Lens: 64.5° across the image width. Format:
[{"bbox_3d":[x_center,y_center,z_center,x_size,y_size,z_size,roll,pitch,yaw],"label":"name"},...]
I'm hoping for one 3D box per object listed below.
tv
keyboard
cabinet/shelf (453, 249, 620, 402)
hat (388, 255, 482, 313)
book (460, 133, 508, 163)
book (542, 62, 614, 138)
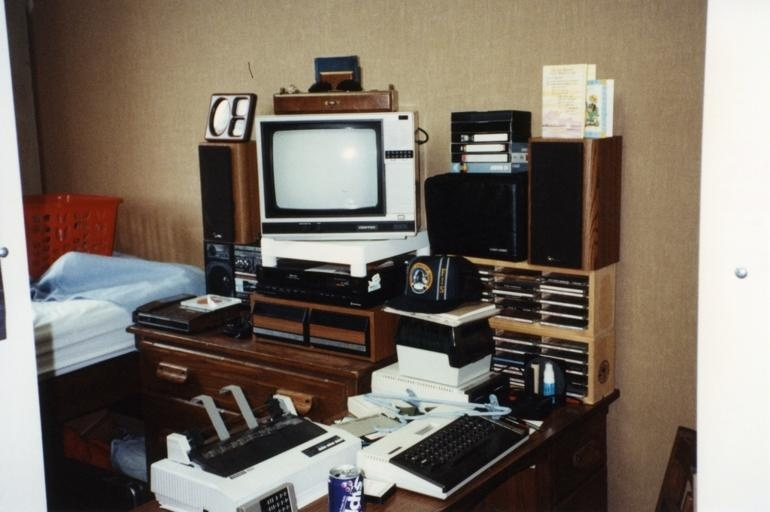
[{"bbox_3d":[-0.203,-0.379,3.137,0.973,0.695,0.552,0,2,12],"label":"tv"},{"bbox_3d":[0.281,0.680,2.170,0.533,0.114,0.195,-10,14,-40],"label":"keyboard"},{"bbox_3d":[0.662,0.302,2.640,0.690,0.602,0.232,3,6,29],"label":"cabinet/shelf"},{"bbox_3d":[0.206,0.100,2.531,0.234,0.146,0.313,2,4,42],"label":"hat"},{"bbox_3d":[0.455,-0.489,2.756,0.214,0.129,0.013,4,13,25],"label":"book"},{"bbox_3d":[0.796,-0.632,2.525,0.345,0.328,0.184,3,10,27],"label":"book"}]
